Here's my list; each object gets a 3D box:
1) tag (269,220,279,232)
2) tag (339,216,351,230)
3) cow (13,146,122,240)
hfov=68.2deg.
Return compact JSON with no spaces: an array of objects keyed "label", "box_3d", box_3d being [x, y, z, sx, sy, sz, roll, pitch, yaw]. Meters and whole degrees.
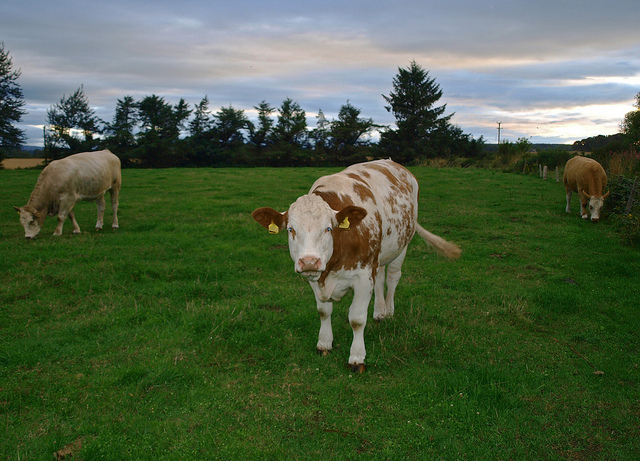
[{"label":"tag","box_3d":[-0.710,-0.058,7.321,0.144,0.155,0.086,-2,17,-12]},{"label":"tag","box_3d":[0.366,-0.123,7.030,0.154,0.219,0.022,9,33,13]},{"label":"cow","box_3d":[-7.277,-0.984,13.920,1.247,2.608,3.593,7,16,16]}]
